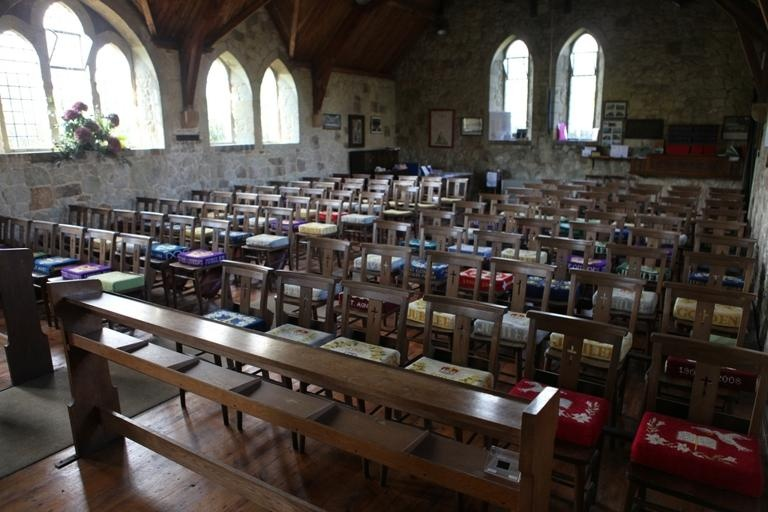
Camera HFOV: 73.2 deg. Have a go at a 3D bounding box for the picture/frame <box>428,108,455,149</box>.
[{"bbox_3d":[1.567,-3.463,13.779,1.035,1.377,0.152,5,11,31],"label":"picture/frame"}]

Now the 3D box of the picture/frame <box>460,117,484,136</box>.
[{"bbox_3d":[2.325,-3.399,13.428,0.535,0.386,0.073,6,12,31],"label":"picture/frame"}]

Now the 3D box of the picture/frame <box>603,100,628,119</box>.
[{"bbox_3d":[5.357,-3.380,11.819,0.454,0.376,0.043,5,9,27],"label":"picture/frame"}]

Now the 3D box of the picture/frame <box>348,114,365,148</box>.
[{"bbox_3d":[-0.735,-3.190,12.988,0.065,0.866,0.888,3,7,31],"label":"picture/frame"}]

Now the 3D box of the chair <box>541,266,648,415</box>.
[{"bbox_3d":[1.668,0.468,3.995,0.662,0.908,0.658,7,-18,38],"label":"chair"}]

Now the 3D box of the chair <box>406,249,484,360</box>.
[{"bbox_3d":[0.679,0.332,5.019,0.593,0.853,0.645,11,16,21],"label":"chair"}]

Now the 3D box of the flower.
[{"bbox_3d":[-4.460,-1.841,7.939,0.935,0.920,1.077,4,12,17],"label":"flower"}]

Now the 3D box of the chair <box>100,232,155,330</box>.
[{"bbox_3d":[-2.934,0.196,5.692,0.641,0.812,0.523,14,18,40],"label":"chair"}]

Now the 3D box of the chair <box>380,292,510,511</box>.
[{"bbox_3d":[0.534,0.950,3.933,0.740,1.329,1.477,1,10,11],"label":"chair"}]

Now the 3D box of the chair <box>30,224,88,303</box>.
[{"bbox_3d":[-4.031,0.065,6.170,0.734,0.895,0.739,12,10,44],"label":"chair"}]

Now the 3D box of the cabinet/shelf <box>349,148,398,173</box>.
[{"bbox_3d":[-0.279,-2.514,13.470,0.386,0.662,1.737,6,11,34],"label":"cabinet/shelf"}]

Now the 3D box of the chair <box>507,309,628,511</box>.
[{"bbox_3d":[1.308,1.035,3.635,0.685,1.299,1.059,4,11,25],"label":"chair"}]

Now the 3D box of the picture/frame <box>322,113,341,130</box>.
[{"bbox_3d":[-1.247,-3.221,12.287,0.044,0.408,0.704,6,11,33],"label":"picture/frame"}]

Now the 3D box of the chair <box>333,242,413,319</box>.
[{"bbox_3d":[-0.043,0.102,5.506,0.646,0.858,0.643,26,36,19],"label":"chair"}]

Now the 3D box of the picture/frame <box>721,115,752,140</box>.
[{"bbox_3d":[7.502,-2.720,10.972,0.468,0.544,0.093,7,13,39],"label":"picture/frame"}]

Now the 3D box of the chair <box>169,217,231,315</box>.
[{"bbox_3d":[-2.239,0.111,6.164,0.760,0.962,0.758,-9,13,-27],"label":"chair"}]

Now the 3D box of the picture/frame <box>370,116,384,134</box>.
[{"bbox_3d":[-0.208,-3.522,13.729,0.053,0.423,0.510,9,15,36],"label":"picture/frame"}]
